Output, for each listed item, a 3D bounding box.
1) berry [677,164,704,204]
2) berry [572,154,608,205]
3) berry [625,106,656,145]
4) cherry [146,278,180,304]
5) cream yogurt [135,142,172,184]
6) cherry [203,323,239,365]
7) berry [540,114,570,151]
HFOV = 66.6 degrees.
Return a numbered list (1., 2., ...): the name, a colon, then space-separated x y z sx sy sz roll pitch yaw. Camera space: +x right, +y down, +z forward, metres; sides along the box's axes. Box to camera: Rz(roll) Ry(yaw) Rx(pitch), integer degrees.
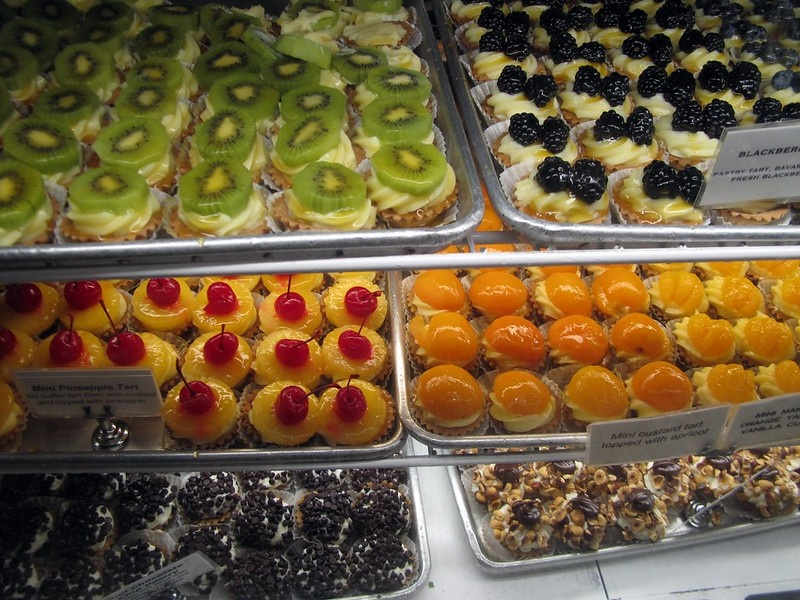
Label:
1. berry: 1.139 -0.447 2.407 0.130 0.063 0.161 -2 90 -30
2. berry: 0.749 -0.478 2.417 0.141 0.062 0.167 -5 76 -8
3. berry: 1.062 -0.765 2.686 0.132 0.162 0.051 -28 23 -32
4. cherry: -1.050 -0.046 2.768 0.141 0.130 0.135 7 6 -8
5. cream yogurt: -0.990 -0.553 2.437 0.141 0.120 0.137 -35 71 -22
6. cherry: -0.752 0.207 2.655 0.160 0.174 0.170 2 62 -16
7. berry: 0.663 -0.723 2.669 0.123 0.086 0.144 35 36 -20
